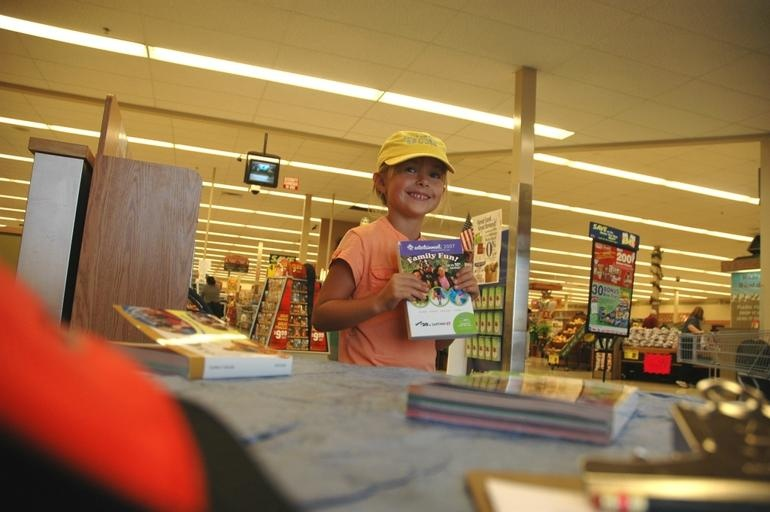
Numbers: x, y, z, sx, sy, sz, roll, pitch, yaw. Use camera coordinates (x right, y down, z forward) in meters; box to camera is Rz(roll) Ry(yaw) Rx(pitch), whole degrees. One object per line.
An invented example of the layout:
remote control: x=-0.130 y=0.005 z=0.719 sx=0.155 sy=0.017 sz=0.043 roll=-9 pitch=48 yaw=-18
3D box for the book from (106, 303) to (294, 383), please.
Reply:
book: x=-0.336 y=0.149 z=0.874 sx=0.239 sy=0.063 sz=0.179 roll=11 pitch=3 yaw=19

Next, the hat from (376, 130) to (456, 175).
hat: x=0.102 y=-0.362 z=1.703 sx=0.228 sy=0.129 sz=0.296 roll=1 pitch=10 yaw=-25
